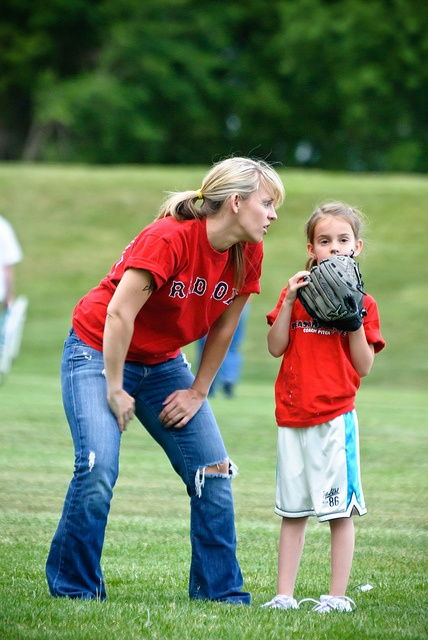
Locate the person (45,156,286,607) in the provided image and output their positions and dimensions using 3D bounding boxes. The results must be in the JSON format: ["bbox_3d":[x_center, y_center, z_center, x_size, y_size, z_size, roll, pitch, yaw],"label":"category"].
[{"bbox_3d":[-0.173,0.228,3.568,0.935,1.646,0.681,3,-5,-7],"label":"person"}]

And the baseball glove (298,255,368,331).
[{"bbox_3d":[0.488,-0.087,3.569,0.244,0.288,0.141,-34,-12,15],"label":"baseball glove"}]

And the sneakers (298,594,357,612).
[{"bbox_3d":[0.417,1.035,3.380,0.236,0.081,0.074,3,-7,-2],"label":"sneakers"}]

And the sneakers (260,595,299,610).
[{"bbox_3d":[0.246,1.031,3.375,0.147,0.054,0.050,3,-6,-5],"label":"sneakers"}]
